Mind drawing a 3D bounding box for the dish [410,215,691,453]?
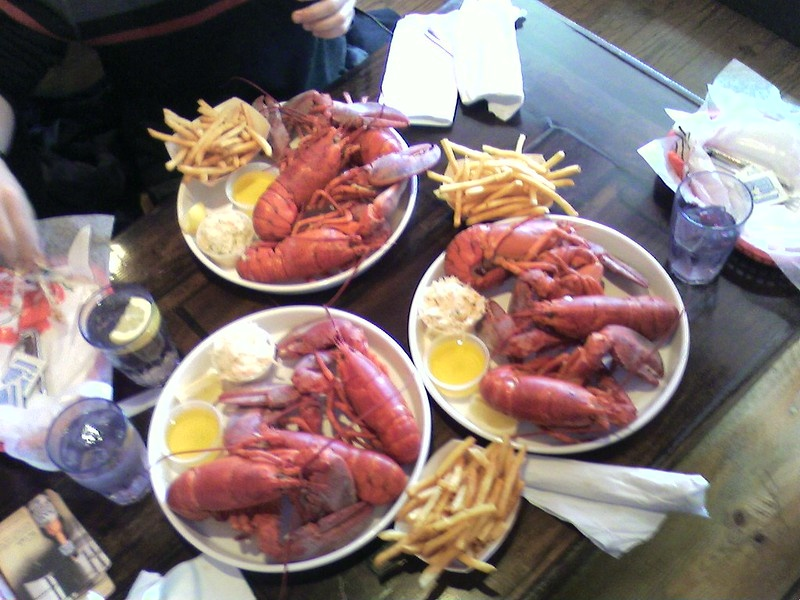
[{"bbox_3d":[0.575,0.142,2.601,1.060,0.202,0.929,-19,72,-5],"label":"dish"}]

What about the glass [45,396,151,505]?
[{"bbox_3d":[-1.016,0.536,2.435,0.329,0.524,0.348,-13,71,-3],"label":"glass"}]
